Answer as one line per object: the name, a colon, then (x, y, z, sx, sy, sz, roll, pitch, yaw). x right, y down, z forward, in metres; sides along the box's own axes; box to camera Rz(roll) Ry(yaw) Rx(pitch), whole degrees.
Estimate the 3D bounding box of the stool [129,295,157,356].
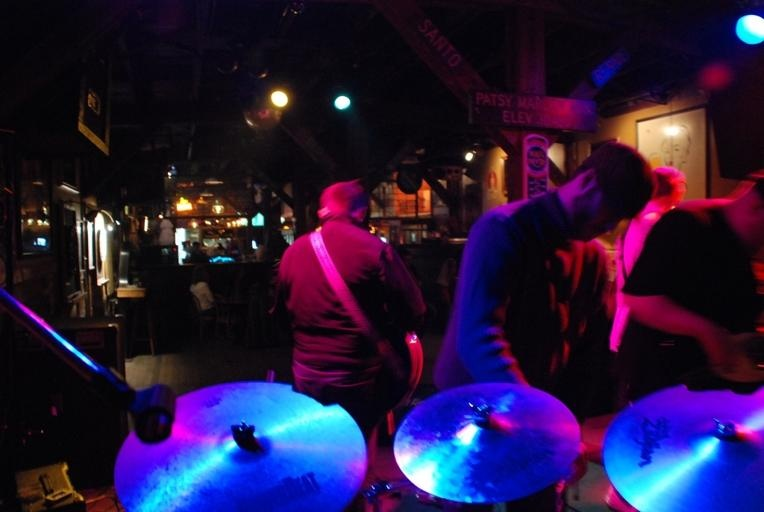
stool: (-3.804, 1.162, 10.309, 0.378, 1.147, 0.406, -2, -4, -10)
